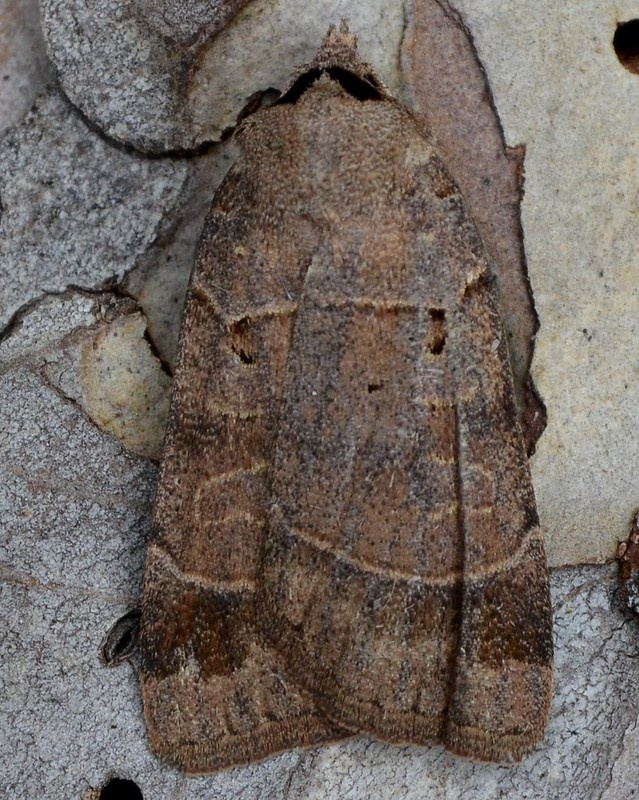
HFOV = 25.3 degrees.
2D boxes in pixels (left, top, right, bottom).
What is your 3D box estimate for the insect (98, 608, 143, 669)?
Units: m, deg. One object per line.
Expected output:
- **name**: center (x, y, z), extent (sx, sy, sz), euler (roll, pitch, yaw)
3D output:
- **insect**: center (-0.459, 0.577, 3.403), extent (0.106, 0.199, 0.054), euler (-7, -62, 22)
